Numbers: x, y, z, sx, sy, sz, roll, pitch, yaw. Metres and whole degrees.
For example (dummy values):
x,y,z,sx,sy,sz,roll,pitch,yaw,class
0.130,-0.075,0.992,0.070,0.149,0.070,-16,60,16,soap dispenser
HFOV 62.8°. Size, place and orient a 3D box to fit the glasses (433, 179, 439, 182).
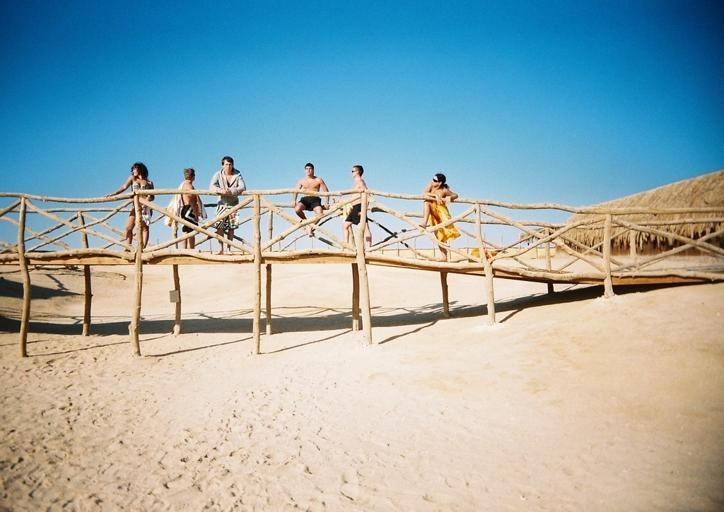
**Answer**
x,y,z,sx,sy,sz,roll,pitch,yaw,class
1.894,-1.938,15.290,0.089,0.069,0.163,-4,7,7,glasses
